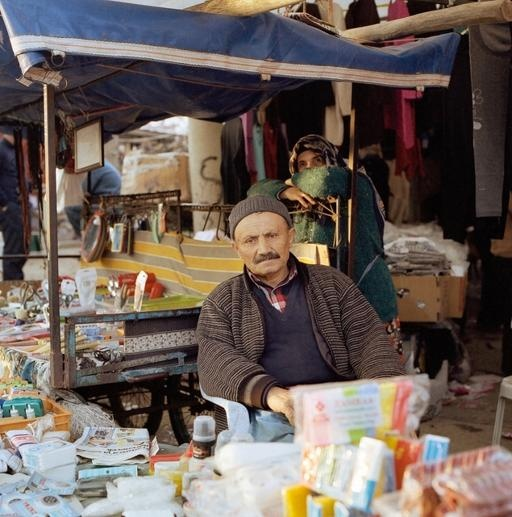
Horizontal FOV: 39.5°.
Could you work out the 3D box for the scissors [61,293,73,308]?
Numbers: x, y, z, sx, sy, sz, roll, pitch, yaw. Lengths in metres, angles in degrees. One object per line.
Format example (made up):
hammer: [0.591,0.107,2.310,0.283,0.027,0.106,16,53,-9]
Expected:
scissors: [-1.172,0.263,4.394,0.061,0.078,0.021,4,-4,-23]

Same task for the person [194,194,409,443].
person: [0.179,0.160,3.271,0.874,1.090,0.658,-3,0,-13]

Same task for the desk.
desk: [-0.921,0.681,4.196,0.808,0.801,1.281,0,0,-36]

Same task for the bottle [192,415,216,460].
bottle: [-0.181,0.626,2.482,0.085,0.149,0.207,-3,0,-6]

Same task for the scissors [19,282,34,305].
scissors: [-1.830,0.287,5.664,0.134,0.214,0.125,-6,-8,22]

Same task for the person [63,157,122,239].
person: [-1.674,-0.620,7.303,0.576,0.794,2.204,-3,0,-15]

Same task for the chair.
chair: [-0.133,0.681,3.191,0.182,0.179,0.141,-2,-6,7]

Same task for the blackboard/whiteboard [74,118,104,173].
blackboard/whiteboard: [-1.049,-0.696,4.454,0.107,0.330,0.543,-3,0,-23]
